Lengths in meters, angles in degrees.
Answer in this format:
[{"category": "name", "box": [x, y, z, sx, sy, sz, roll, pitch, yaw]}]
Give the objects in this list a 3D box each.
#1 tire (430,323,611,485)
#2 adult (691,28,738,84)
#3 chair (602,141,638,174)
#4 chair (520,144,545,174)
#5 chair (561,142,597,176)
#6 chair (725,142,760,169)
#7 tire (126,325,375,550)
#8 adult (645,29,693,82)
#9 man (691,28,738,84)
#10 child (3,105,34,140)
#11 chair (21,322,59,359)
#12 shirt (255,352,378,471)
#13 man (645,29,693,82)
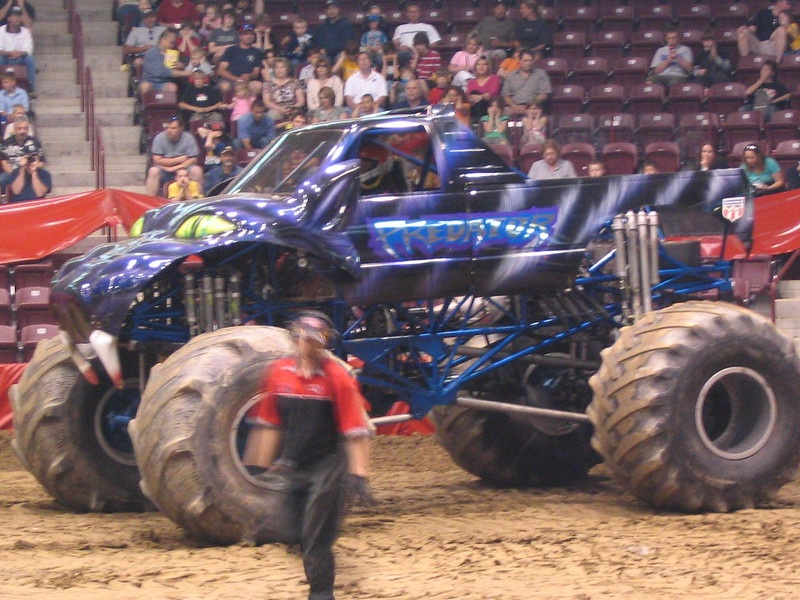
[{"category": "tire", "box": [1.160, 1.377, 19.833, 2.264, 1.605, 1.925, 4, -1, 1]}, {"category": "adult", "box": [5.241, -4.036, 28.144, 0.677, 0.817, 0.814, 1, 14, 10]}, {"category": "chair", "box": [3.340, -2.172, 25.662, 0.582, 0.581, 0.604, -2, 6, 12]}, {"category": "chair", "box": [1.912, -2.139, 25.139, 0.509, 0.462, 0.440, 0, -3, 0]}, {"category": "chair", "box": [2.715, -2.160, 25.616, 0.580, 0.556, 0.569, -2, 9, 2]}, {"category": "chair", "box": [5.264, -2.256, 25.960, 0.502, 0.502, 0.558, 0, 1, 38]}, {"category": "tire", "box": [-1.986, 1.407, 16.856, 2.680, 1.945, 0.813, 1, 3, -25]}, {"category": "adult", "box": [4.511, -4.084, 28.080, 0.723, 0.873, 0.991, 3, 14, 16]}, {"category": "man", "box": [5.241, -4.036, 28.144, 0.677, 0.817, 0.814, 1, 14, 10]}, {"category": "child", "box": [-5.718, -2.642, 24.790, 0.562, 0.501, 0.636, 1, -4, -1]}, {"category": "chair", "box": [-4.952, 0.578, 22.362, 0.625, 0.572, 0.556, 1, -4, -16]}, {"category": "shirt", "box": [-0.879, 1.093, 15.927, 1.741, 1.164, 0.596, 3, 4, 14]}, {"category": "man", "box": [4.509, -4.083, 28.074, 0.723, 0.873, 0.978, 3, 14, 16]}]
